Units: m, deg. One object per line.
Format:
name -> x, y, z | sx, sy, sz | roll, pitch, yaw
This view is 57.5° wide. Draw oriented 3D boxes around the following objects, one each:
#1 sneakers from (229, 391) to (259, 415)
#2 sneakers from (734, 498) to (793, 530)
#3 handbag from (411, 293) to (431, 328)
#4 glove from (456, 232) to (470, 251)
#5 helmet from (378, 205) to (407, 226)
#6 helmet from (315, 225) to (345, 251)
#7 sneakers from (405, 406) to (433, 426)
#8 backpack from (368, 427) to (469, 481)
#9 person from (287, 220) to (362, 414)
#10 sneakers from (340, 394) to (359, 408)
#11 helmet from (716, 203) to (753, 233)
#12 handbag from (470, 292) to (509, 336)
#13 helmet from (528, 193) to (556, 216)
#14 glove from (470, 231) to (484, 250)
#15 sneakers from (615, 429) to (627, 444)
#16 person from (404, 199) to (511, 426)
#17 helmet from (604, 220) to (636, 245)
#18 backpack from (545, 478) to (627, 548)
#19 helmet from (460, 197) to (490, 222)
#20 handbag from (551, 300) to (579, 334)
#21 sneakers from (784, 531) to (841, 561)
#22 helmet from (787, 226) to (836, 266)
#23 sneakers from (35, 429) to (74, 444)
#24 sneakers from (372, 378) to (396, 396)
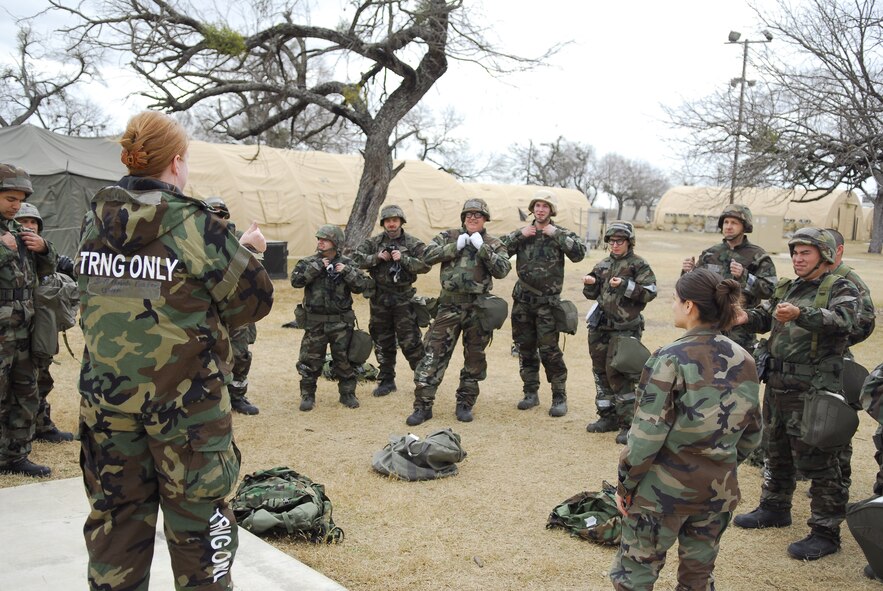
sneakers -> -2.402, 1.339, 9.751 | 0.504, 0.215, 0.163 | 2, 7, 23
sneakers -> 2.844, 1.997, 7.393 | 0.661, 0.259, 0.205 | 1, -3, -2
handbag -> -0.249, 0.201, 10.345 | 0.328, 0.352, 0.156 | 3, -3, 2
glove -> 0.257, -0.630, 9.576 | 0.155, 0.179, 0.070 | 14, -14, 22
helmet -> -0.629, -1.027, 10.361 | 0.293, 0.184, 0.283 | -1, -4, 0
helmet -> -1.351, -0.691, 9.874 | 0.374, 0.244, 0.272 | -11, 20, -29
sneakers -> -0.265, 1.411, 9.535 | 0.193, 0.208, 0.393 | 13, 15, 41
backpack -> -0.241, 1.620, 8.203 | 0.948, 0.370, 0.524 | 2, 11, -2
person -> -1.412, 0.291, 9.922 | 0.852, 2.247, 0.424 | 0, 12, -10
sneakers -> -1.173, 1.353, 10.217 | 0.126, 0.100, 0.258 | -2, -4, -36
helmet -> 3.353, -0.893, 9.161 | 0.385, 0.259, 0.351 | 9, -6, -35
handbag -> 0.594, 0.215, 9.598 | 0.362, 0.387, 0.298 | -5, 3, -21
helmet -> 1.225, -1.087, 9.657 | 0.271, 0.181, 0.266 | 9, 2, 14
glove -> 0.403, -0.640, 9.481 | 0.164, 0.190, 0.063 | 0, -1, 12
sneakers -> 2.033, 1.608, 9.078 | 0.107, 0.189, 0.058 | -13, -52, 38
person -> 0.212, 0.182, 9.663 | 1.180, 2.623, 0.847 | 0, 12, -12
helmet -> 2.020, -0.706, 9.143 | 0.289, 0.227, 0.355 | 3, 9, 14
backpack -> 1.373, 1.908, 7.216 | 0.554, 0.196, 0.544 | 7, 14, 30
helmet -> 0.399, -1.026, 9.646 | 0.303, 0.261, 0.368 | 3, 14, 11
handbag -> 1.501, 0.288, 9.764 | 0.267, 0.418, 0.446 | 4, 12, 8
sneakers -> 3.169, 2.122, 6.830 | 0.528, 0.193, 0.193 | -2, -3, -16
helmet -> 3.286, -0.446, 6.992 | 0.380, 0.244, 0.316 | -3, 7, -6
sneakers -> -4.090, 1.494, 8.474 | 0.392, 0.143, 0.130 | 0, 7, -17
sneakers -> -0.816, 1.275, 10.892 | 0.142, 0.223, 0.365 | -12, -18, 39
